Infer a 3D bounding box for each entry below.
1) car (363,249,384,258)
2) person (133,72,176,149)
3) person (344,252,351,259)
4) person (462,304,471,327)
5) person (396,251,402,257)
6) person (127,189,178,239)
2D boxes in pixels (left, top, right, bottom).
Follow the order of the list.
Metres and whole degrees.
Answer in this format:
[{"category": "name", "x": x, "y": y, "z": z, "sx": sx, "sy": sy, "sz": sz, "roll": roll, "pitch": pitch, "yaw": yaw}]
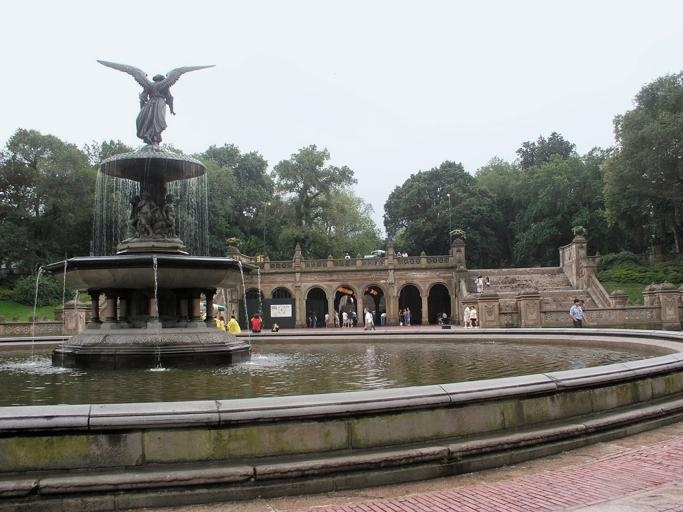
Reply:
[{"category": "car", "x": 2.825, "y": -0.079, "z": 55.937, "sx": 1.694, "sy": 0.821, "sz": 0.997, "roll": 9, "pitch": -12, "yaw": -41}, {"category": "person", "x": -4.644, "y": -3.665, "z": 16.652, "sx": 0.850, "sy": 1.754, "sz": 0.850, "roll": 8, "pitch": 12, "yaw": 36}, {"category": "person", "x": 0.422, "y": -0.057, "z": 54.288, "sx": 0.490, "sy": 0.976, "sz": 0.353, "roll": -3, "pitch": -42, "yaw": 4}, {"category": "person", "x": 5.786, "y": 2.799, "z": 30.692, "sx": 0.300, "sy": 0.931, "sz": 1.643, "roll": 3, "pitch": 9, "yaw": 10}, {"category": "person", "x": 4.570, "y": -0.187, "z": 53.084, "sx": 0.660, "sy": 0.381, "sz": 0.898, "roll": -1, "pitch": -3, "yaw": 2}, {"category": "person", "x": -4.690, "y": -0.994, "z": 16.552, "sx": 1.073, "sy": 1.089, "sz": 0.972, "roll": -2, "pitch": 10, "yaw": -17}]
